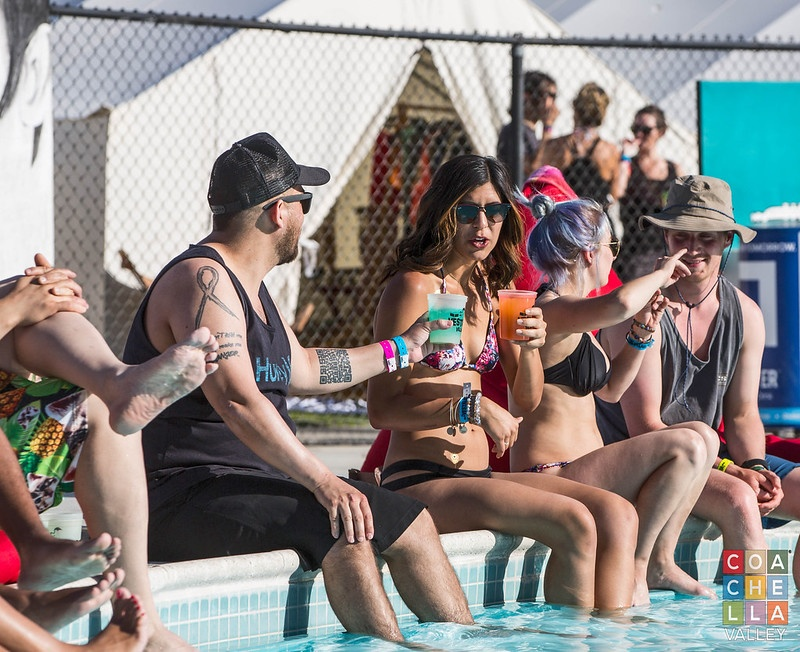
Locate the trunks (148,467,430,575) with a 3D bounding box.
[{"bbox_3d":[-0.493,0.729,4.196,0.787,0.280,0.471,2,-1,-8],"label":"trunks"}]

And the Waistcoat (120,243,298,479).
[{"bbox_3d":[-0.774,0.162,4.752,0.704,1.165,0.934,-1,-2,0],"label":"Waistcoat"}]

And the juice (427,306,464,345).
[{"bbox_3d":[0.193,-0.007,4.647,0.136,0.168,0.138,1,3,-6],"label":"juice"}]

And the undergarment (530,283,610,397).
[{"bbox_3d":[0.803,0.105,5.032,0.229,0.492,0.323,-2,7,14],"label":"undergarment"}]

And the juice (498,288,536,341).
[{"bbox_3d":[0.489,-0.049,4.740,0.172,0.220,0.189,3,-3,4],"label":"juice"}]
